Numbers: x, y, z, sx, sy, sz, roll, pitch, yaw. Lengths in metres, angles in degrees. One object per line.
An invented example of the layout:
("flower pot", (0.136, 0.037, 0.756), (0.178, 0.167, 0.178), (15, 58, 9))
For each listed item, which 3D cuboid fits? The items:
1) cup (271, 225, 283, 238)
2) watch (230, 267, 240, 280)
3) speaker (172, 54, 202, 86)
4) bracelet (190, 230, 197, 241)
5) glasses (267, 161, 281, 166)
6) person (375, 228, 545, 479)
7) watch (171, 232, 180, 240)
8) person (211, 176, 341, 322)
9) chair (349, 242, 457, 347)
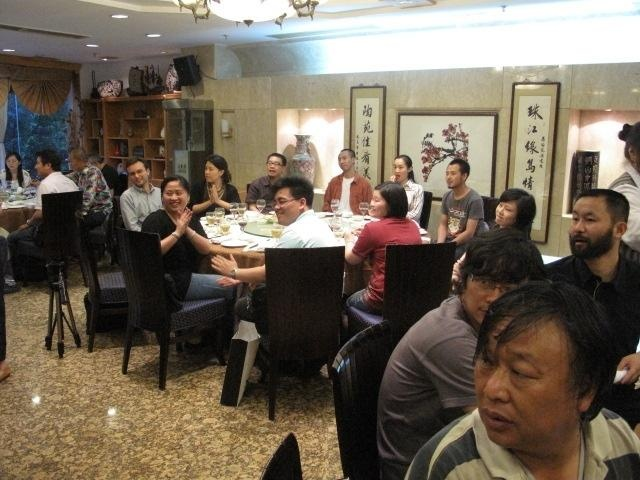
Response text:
("cup", (-0.325, -0.086, 3.665), (0.095, 0.110, 0.098), (3, 16, -1))
("watch", (-0.553, 0.208, 3.110), (0.048, 0.075, 0.069), (15, -31, 8))
("speaker", (-2.166, -2.780, 7.875), (0.426, 0.485, 0.267), (7, 14, 31))
("bracelet", (-0.893, -0.046, 3.420), (0.020, 0.051, 0.056), (-33, 14, -14))
("glasses", (-0.502, -0.819, 5.140), (0.122, 0.058, 0.055), (2, 12, 12))
("person", (0.522, 0.294, 2.177), (0.756, 1.347, 0.713), (6, 10, 27))
("watch", (-0.982, -0.042, 3.305), (0.060, 0.056, 0.041), (10, 41, -13))
("person", (-0.344, 0.025, 3.436), (0.985, 1.080, 0.654), (3, 4, 9))
("chair", (0.505, 0.246, 3.150), (0.524, 1.040, 0.575), (-4, 23, -10))
